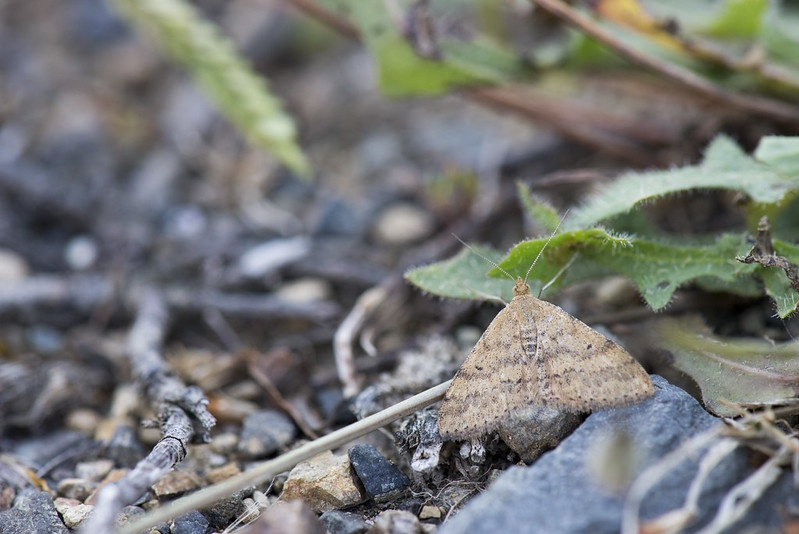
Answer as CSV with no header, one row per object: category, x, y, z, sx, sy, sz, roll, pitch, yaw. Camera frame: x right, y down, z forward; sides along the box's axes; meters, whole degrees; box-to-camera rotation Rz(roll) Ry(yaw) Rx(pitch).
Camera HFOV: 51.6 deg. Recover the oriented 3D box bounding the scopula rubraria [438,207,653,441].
scopula rubraria,0.388,0.354,2.263,0.475,0.085,0.498,33,76,21
